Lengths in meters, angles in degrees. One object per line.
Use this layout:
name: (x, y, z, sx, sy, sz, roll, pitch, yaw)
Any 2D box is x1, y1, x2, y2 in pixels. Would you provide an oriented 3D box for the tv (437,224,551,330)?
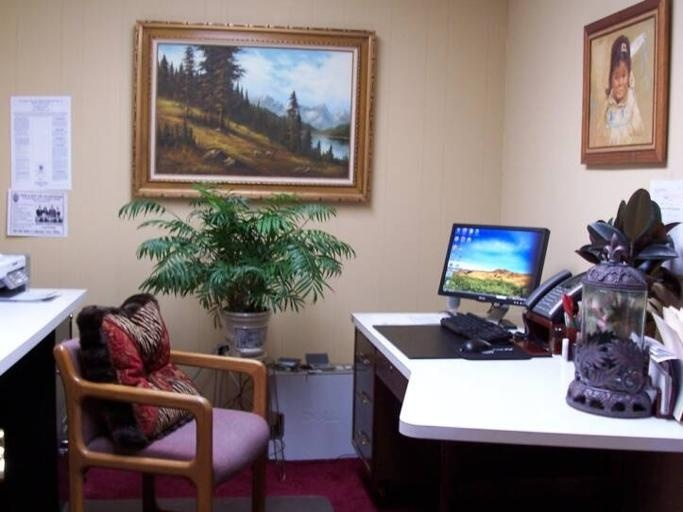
tv: (0.784, 0.100, 2.734, 0.193, 0.567, 0.535, 1, 4, -45)

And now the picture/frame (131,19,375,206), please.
picture/frame: (-0.620, -0.962, 3.485, 1.085, 0.908, 0.051, 1, 5, -4)

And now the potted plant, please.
potted plant: (-0.521, 0.176, 3.010, 0.977, 0.755, 0.861, -4, -7, -2)

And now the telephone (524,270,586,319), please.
telephone: (0.969, 0.188, 2.362, 0.206, 0.196, 0.301, 3, 11, -3)
